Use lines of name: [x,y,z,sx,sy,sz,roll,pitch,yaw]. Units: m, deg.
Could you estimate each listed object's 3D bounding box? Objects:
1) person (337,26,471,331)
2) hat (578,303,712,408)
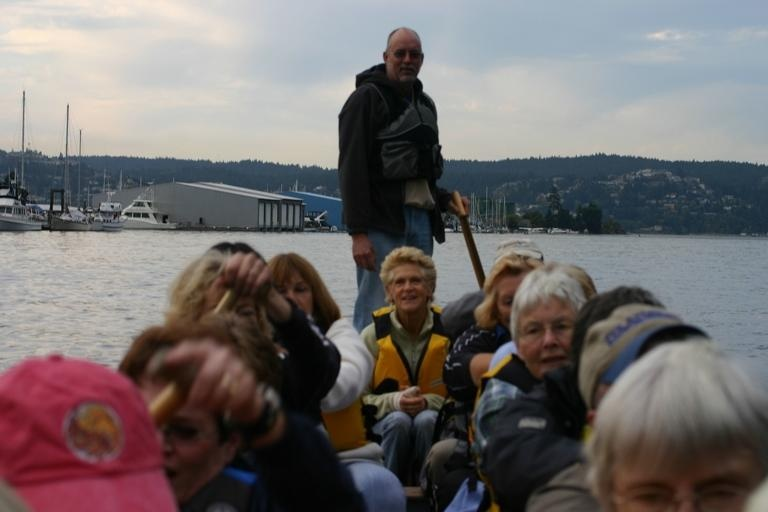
person: [0.081,-0.435,5.327,0.770,1.669,0.427,-2,3,-40]
hat: [0.664,0.272,2.475,0.248,0.280,0.271,-1,2,-17]
